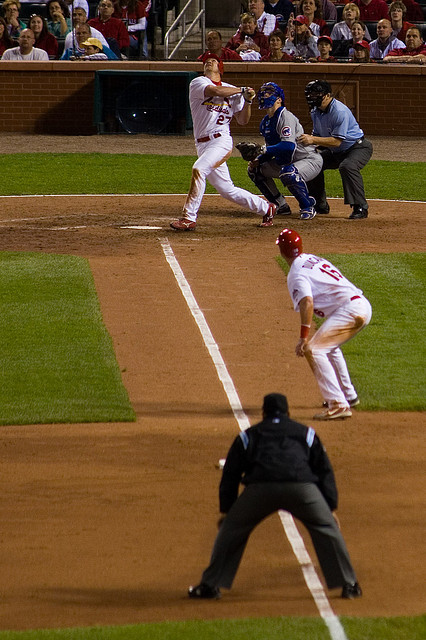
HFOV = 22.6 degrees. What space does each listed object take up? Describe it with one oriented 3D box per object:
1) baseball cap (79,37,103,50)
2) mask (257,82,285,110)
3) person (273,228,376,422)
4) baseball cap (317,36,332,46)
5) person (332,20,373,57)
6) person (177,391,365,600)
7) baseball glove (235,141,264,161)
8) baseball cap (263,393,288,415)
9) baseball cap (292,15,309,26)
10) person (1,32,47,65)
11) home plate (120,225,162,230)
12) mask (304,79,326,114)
[{"bbox_3d":[-2.501,-5.710,21.981,0.361,0.192,0.231,3,8,-23],"label":"baseball cap"},{"bbox_3d":[0.695,-2.793,13.276,0.295,0.318,0.476,1,11,3],"label":"mask"},{"bbox_3d":[0.843,-0.026,8.036,0.663,1.424,1.833,2,12,8],"label":"person"},{"bbox_3d":[2.279,-5.758,21.960,0.243,0.179,0.400,4,11,21],"label":"baseball cap"},{"bbox_3d":[2.885,-5.931,22.554,0.775,0.692,1.545,1,11,6],"label":"person"},{"bbox_3d":[0.309,1.005,5.807,0.933,0.991,0.397,-1,21,2],"label":"person"},{"bbox_3d":[0.439,-2.166,13.538,0.329,0.228,0.112,29,21,20],"label":"baseball glove"},{"bbox_3d":[0.290,0.411,5.117,0.122,0.102,0.122,6,13,28],"label":"baseball cap"},{"bbox_3d":[1.816,-6.217,22.166,0.212,0.156,0.305,26,20,40],"label":"baseball cap"},{"bbox_3d":[-3.925,-5.653,22.183,0.738,0.579,0.419,10,-20,3],"label":"person"},{"bbox_3d":[-0.945,-1.184,13.728,0.532,0.020,0.259,7,13,31],"label":"home plate"},{"bbox_3d":[1.286,-2.859,13.622,0.255,0.395,0.473,-2,12,-12],"label":"mask"}]
